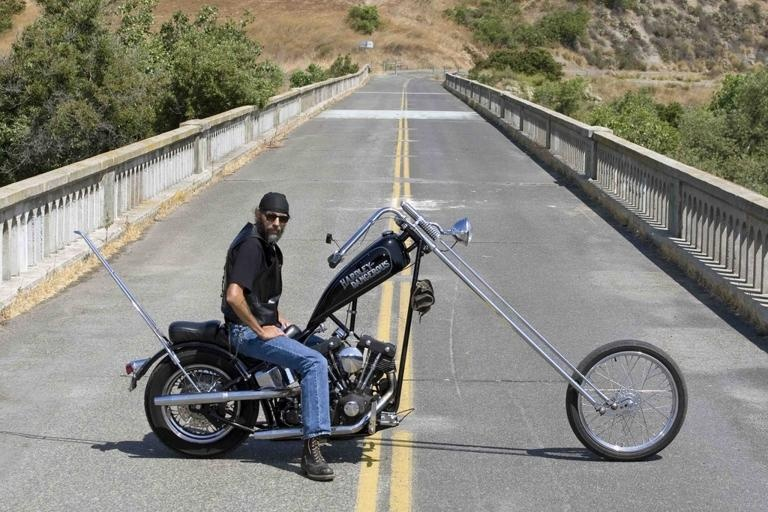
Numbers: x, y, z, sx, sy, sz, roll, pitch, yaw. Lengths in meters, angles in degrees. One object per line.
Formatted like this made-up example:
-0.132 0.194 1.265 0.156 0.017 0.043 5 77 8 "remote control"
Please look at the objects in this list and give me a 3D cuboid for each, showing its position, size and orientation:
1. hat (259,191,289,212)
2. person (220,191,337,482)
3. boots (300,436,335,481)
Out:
-1.080 -0.516 9.339 0.206 0.156 0.219 7 1 -18 "hat"
-1.022 0.821 9.228 0.771 2.447 1.367 -16 31 -30 "person"
-0.656 1.985 9.245 0.175 0.395 0.487 5 -2 -36 "boots"
